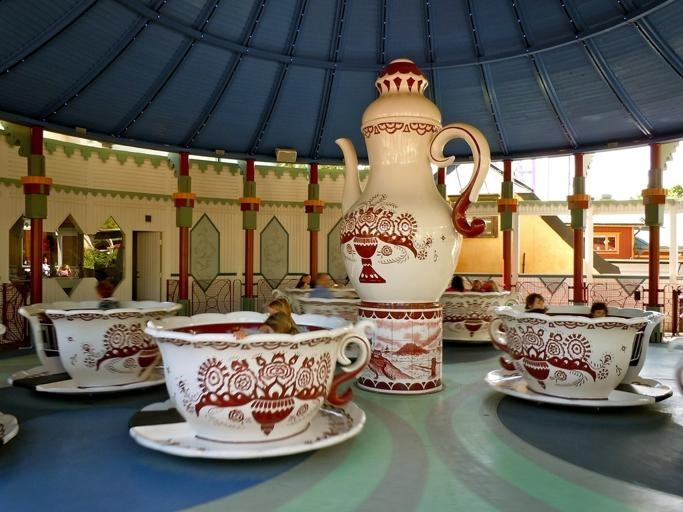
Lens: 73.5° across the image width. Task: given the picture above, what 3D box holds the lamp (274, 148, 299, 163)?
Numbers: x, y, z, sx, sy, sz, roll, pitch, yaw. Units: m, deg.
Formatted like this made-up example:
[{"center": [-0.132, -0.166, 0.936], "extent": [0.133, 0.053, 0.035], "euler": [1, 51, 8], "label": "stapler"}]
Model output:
[{"center": [-0.959, -1.770, 8.137], "extent": [0.455, 0.288, 0.248], "euler": [-1, 42, -9], "label": "lamp"}]
